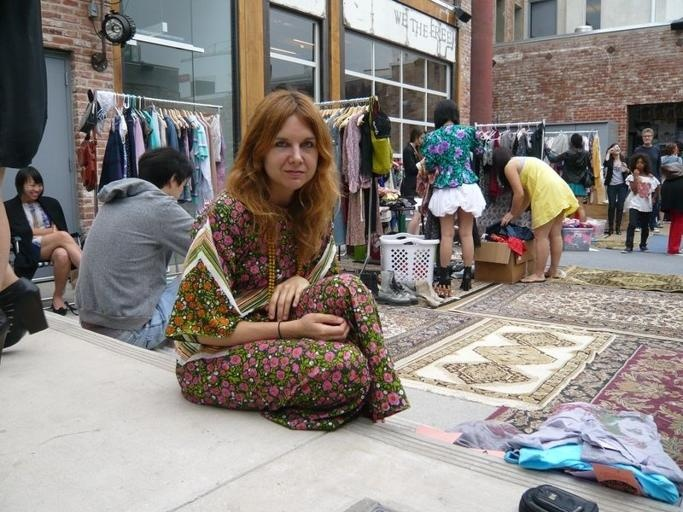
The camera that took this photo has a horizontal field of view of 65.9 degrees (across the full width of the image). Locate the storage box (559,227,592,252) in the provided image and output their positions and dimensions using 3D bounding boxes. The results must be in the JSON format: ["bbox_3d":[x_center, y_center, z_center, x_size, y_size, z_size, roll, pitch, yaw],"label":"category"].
[{"bbox_3d":[3.929,-0.315,8.721,0.396,0.321,0.414,4,5,29],"label":"storage box"}]

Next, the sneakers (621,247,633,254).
[{"bbox_3d":[4.624,-0.093,8.469,0.081,0.103,0.228,-2,-2,42],"label":"sneakers"}]

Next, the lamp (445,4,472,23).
[{"bbox_3d":[2.707,-5.533,11.965,0.596,0.373,0.289,-2,8,-31],"label":"lamp"}]

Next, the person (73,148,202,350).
[{"bbox_3d":[-1.292,0.065,3.472,0.652,1.541,0.901,12,14,26],"label":"person"}]

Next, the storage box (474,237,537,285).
[{"bbox_3d":[2.022,0.002,6.310,0.706,0.451,0.512,-16,13,-41],"label":"storage box"}]

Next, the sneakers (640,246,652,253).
[{"bbox_3d":[5.072,-0.112,8.726,0.088,0.100,0.148,-1,-35,5],"label":"sneakers"}]
